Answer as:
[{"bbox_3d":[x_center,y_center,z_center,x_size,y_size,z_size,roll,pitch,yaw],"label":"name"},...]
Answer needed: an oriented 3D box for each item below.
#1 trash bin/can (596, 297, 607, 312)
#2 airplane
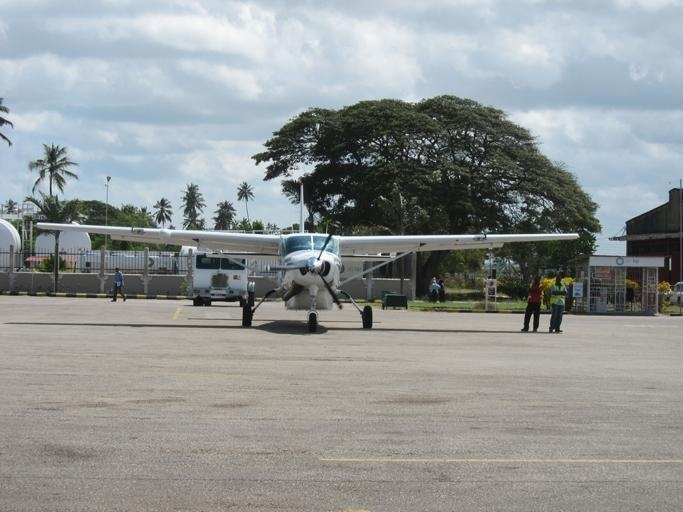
[{"bbox_3d":[10.274,1.837,39.005,0.381,0.562,0.523,2,5,11],"label":"trash bin/can"},{"bbox_3d":[-0.707,0.531,27.127,11.598,2.874,7.172,-1,6,-24],"label":"airplane"}]
